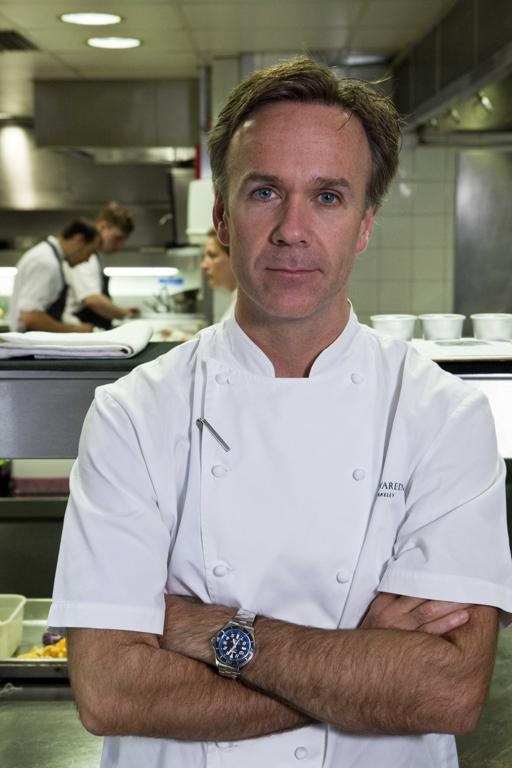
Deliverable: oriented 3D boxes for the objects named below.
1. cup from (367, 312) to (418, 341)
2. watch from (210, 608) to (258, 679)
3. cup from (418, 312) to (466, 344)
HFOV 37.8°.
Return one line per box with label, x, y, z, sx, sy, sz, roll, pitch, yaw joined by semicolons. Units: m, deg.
cup;0.269;-0.113;1.492;0.105;0.047;0.098;1;1;0
watch;-0.025;0.293;0.838;0.045;0.063;0.023;26;-17;22
cup;0.391;-0.116;1.545;0.074;0.035;0.073;1;4;0
